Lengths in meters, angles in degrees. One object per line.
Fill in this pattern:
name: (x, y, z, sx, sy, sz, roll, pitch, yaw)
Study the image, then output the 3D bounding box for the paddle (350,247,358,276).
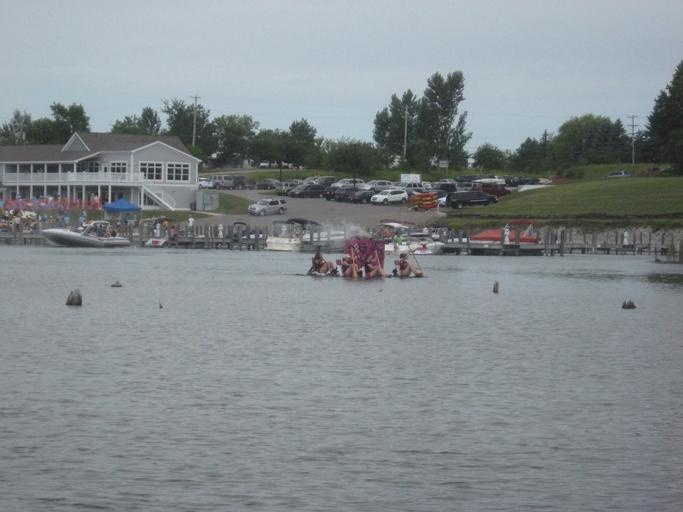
paddle: (0.722, 0.414, 95.228, 0.305, 1.570, 0.280, -1, 2, -2)

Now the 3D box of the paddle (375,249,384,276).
paddle: (2.109, 0.422, 95.269, 0.509, 1.506, 0.394, -1, 2, -15)

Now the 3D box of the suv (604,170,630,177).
suv: (26.823, -8.025, 162.929, 2.405, 0.824, 1.173, 5, 5, 41)
